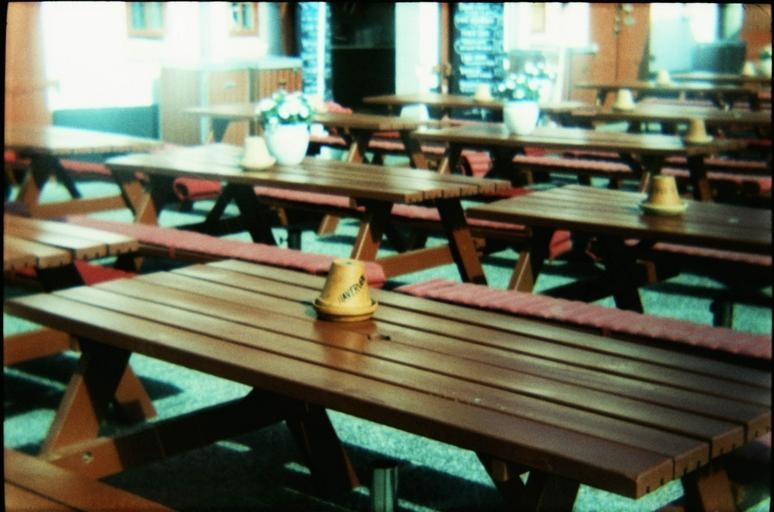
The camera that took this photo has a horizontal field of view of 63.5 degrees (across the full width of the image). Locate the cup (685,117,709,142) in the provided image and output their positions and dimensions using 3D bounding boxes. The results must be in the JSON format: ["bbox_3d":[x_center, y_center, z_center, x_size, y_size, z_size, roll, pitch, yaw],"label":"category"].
[{"bbox_3d":[2.145,-0.867,4.353,0.208,0.142,0.206,-4,14,1],"label":"cup"}]

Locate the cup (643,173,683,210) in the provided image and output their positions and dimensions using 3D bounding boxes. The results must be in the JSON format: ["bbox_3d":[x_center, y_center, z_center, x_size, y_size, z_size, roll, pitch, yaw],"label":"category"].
[{"bbox_3d":[1.372,-0.323,3.158,0.203,0.136,0.193,-2,5,0],"label":"cup"}]

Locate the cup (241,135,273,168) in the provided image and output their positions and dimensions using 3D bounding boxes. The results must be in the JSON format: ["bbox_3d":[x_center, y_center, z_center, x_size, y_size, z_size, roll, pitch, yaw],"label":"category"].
[{"bbox_3d":[-0.856,-0.683,4.103,0.223,0.146,0.209,0,8,0],"label":"cup"}]

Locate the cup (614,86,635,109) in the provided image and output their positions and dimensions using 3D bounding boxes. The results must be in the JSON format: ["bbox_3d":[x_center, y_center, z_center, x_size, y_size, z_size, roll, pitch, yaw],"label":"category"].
[{"bbox_3d":[2.310,-1.520,6.046,0.225,0.155,0.230,-2,9,0],"label":"cup"}]

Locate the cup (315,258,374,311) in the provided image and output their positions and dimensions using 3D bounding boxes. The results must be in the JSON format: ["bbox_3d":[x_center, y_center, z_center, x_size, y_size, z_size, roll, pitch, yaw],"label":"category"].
[{"bbox_3d":[-0.136,0.102,2.056,0.193,0.121,0.181,3,7,0],"label":"cup"}]
